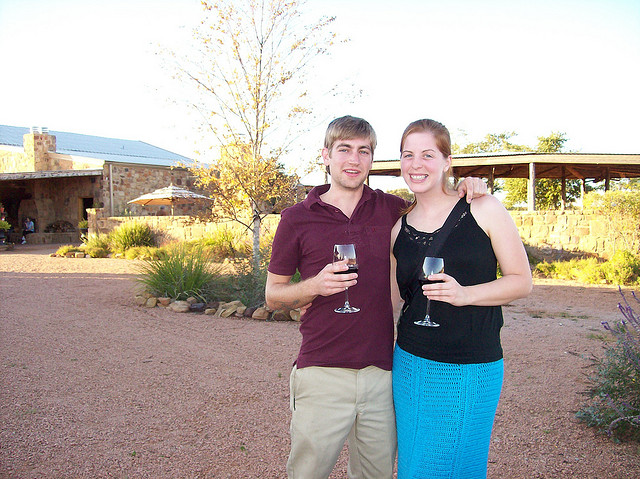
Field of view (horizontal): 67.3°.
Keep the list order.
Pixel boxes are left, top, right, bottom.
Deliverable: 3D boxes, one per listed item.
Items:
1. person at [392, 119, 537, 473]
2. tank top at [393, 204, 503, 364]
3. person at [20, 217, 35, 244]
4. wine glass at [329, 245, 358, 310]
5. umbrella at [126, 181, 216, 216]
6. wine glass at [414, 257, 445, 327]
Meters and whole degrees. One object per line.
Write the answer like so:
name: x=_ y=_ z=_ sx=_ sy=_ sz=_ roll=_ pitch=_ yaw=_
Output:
person: x=0.900 y=0.354 z=3.173 sx=0.869 sy=2.268 sz=0.717 roll=2 pitch=10 yaw=12
tank top: x=0.851 y=0.301 z=3.112 sx=0.854 sy=1.276 sz=0.621 roll=-3 pitch=-6 yaw=32
person: x=-15.620 y=-0.463 z=25.507 sx=0.743 sy=1.202 sz=2.189 roll=-7 pitch=12 yaw=-32
wine glass: x=0.158 y=0.238 z=3.205 sx=0.149 sy=0.435 sz=0.286 roll=-2 pitch=10 yaw=-10
umbrella: x=-6.315 y=-1.597 z=19.333 sx=2.284 sy=1.317 sz=2.492 roll=-3 pitch=3 yaw=21
wine glass: x=0.702 y=0.339 z=3.060 sx=0.184 sy=0.453 sz=0.171 roll=0 pitch=10 yaw=5
